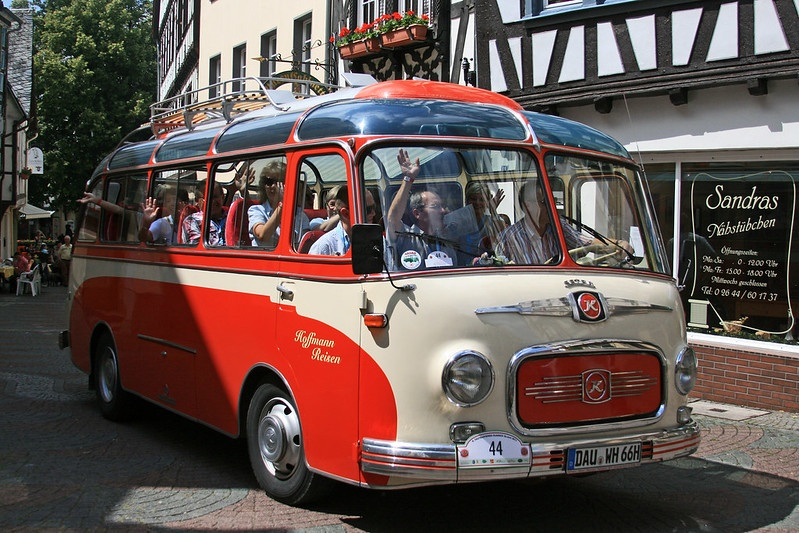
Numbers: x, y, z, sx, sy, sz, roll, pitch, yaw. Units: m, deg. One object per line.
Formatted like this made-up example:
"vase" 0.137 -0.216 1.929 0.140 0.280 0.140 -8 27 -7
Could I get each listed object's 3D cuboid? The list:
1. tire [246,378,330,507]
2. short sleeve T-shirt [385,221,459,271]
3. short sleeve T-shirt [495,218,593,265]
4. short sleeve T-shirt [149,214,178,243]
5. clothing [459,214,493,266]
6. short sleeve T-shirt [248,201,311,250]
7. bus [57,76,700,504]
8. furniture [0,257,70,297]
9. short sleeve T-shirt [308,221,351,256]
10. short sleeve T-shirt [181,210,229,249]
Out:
"tire" -0.960 1.551 5.488 0.413 1.081 0.981 3 12 -43
"short sleeve T-shirt" 0.155 -0.117 4.958 0.414 0.224 0.421 -1 -24 45
"short sleeve T-shirt" 1.222 -0.210 5.275 0.910 0.378 0.199 0 2 -30
"short sleeve T-shirt" -2.859 -0.458 7.556 0.346 0.267 0.187 0 -4 22
"clothing" 0.633 -0.203 5.073 0.250 0.337 0.099 2 -1 -44
"short sleeve T-shirt" -1.174 -0.392 5.881 0.420 0.298 0.558 0 -3 -22
"bus" -1.382 -0.004 7.536 8.919 4.297 2.914 3 2 41
"furniture" -16.482 0.626 27.738 1.874 2.557 1.929 -2 -7 34
"short sleeve T-shirt" -0.582 -0.204 5.334 0.453 0.405 0.239 0 -2 -15
"short sleeve T-shirt" -2.108 -0.401 6.802 0.329 0.317 0.258 17 10 1
